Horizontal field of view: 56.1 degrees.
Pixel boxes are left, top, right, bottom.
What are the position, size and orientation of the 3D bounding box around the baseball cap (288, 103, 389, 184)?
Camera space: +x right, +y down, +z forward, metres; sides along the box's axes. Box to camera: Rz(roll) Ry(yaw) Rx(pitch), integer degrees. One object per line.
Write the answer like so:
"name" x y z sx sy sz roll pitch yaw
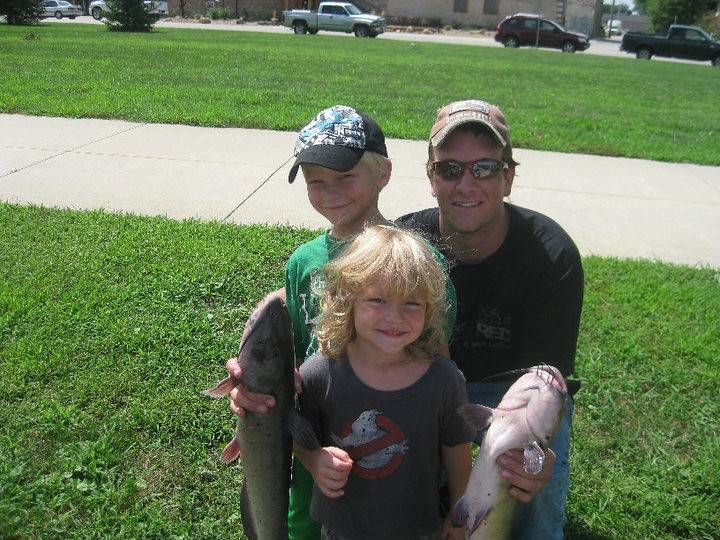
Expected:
"baseball cap" -0.139 -0.753 4.074 0.366 0.338 0.536 -1 8 24
